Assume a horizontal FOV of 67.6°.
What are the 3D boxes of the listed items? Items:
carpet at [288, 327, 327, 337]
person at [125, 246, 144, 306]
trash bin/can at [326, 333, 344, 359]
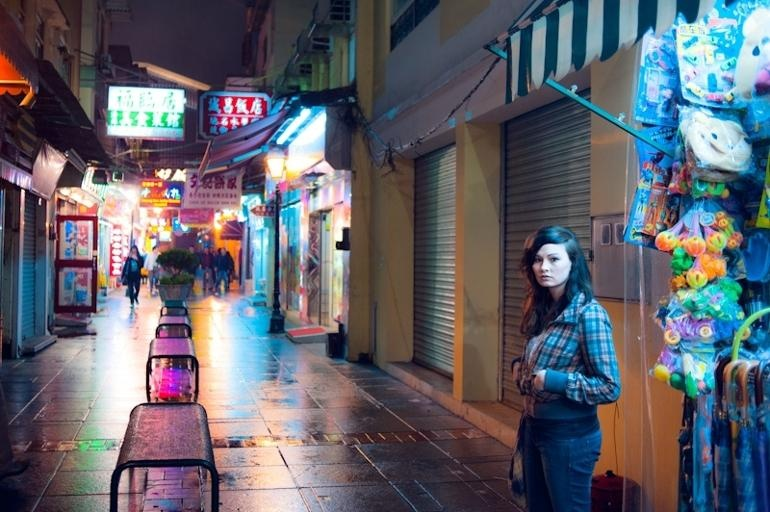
[{"bbox_3d":[-2.057,1.930,14.670,1.070,0.227,0.696,0,-5,16],"label":"carpet"},{"bbox_3d":[-9.713,0.716,22.070,0.884,2.196,0.729,3,-4,-41],"label":"person"},{"bbox_3d":[-1.091,1.932,12.425,0.462,0.673,0.468,0,-1,-4],"label":"trash bin/can"}]
